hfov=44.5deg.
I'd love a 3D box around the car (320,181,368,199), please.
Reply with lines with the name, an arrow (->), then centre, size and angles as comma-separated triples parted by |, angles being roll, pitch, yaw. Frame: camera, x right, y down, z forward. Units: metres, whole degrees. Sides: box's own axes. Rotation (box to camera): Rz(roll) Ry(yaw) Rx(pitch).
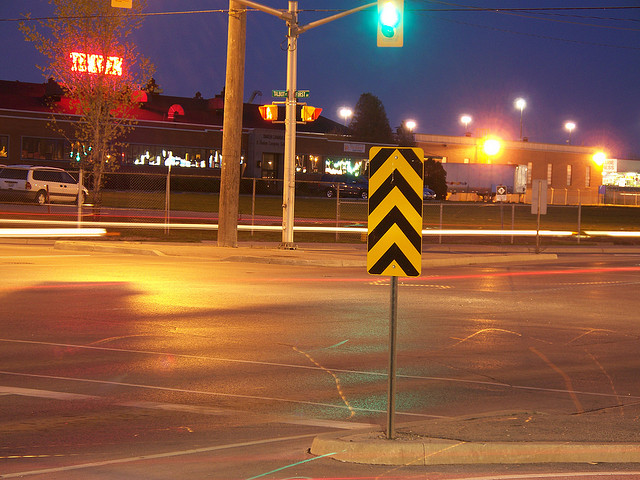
car -> 1.840, -4.161, 65.778 | 4.040, 1.404, 1.838 | 0, 3, 11

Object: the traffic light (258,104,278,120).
traffic light -> -1.778, -4.429, 26.730 | 0.550, 0.547, 1.190 | 2, 5, -1

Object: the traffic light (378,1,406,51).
traffic light -> 2.012, -5.867, 21.118 | 0.532, 1.212, 1.018 | -1, 6, -37

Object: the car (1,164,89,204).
car -> -14.675, -2.871, 40.783 | 3.453, 1.872, 2.270 | 0, 5, -30
